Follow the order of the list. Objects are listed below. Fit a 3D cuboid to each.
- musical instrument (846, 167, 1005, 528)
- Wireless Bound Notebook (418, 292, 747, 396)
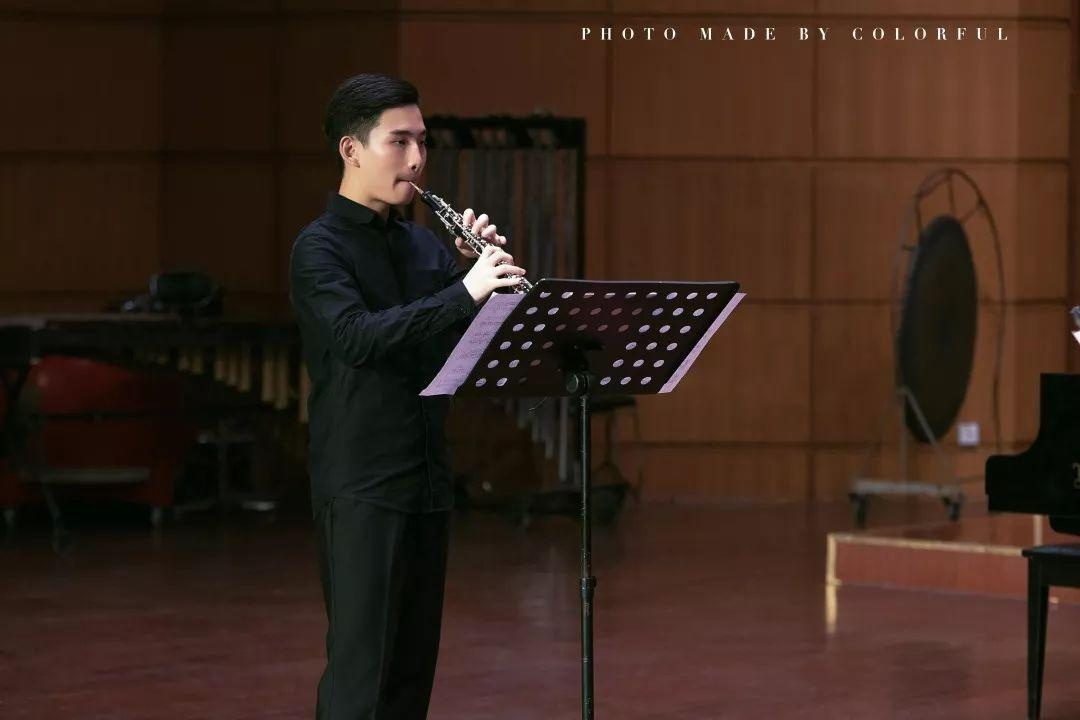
[{"bbox_3d":[2.521,-0.083,7.925,1.023,2.291,0.299,-1,5,-17],"label":"musical instrument"},{"bbox_3d":[0.110,-0.062,4.512,0.771,0.083,0.469,-10,-36,-12],"label":"Wireless Bound Notebook"}]
